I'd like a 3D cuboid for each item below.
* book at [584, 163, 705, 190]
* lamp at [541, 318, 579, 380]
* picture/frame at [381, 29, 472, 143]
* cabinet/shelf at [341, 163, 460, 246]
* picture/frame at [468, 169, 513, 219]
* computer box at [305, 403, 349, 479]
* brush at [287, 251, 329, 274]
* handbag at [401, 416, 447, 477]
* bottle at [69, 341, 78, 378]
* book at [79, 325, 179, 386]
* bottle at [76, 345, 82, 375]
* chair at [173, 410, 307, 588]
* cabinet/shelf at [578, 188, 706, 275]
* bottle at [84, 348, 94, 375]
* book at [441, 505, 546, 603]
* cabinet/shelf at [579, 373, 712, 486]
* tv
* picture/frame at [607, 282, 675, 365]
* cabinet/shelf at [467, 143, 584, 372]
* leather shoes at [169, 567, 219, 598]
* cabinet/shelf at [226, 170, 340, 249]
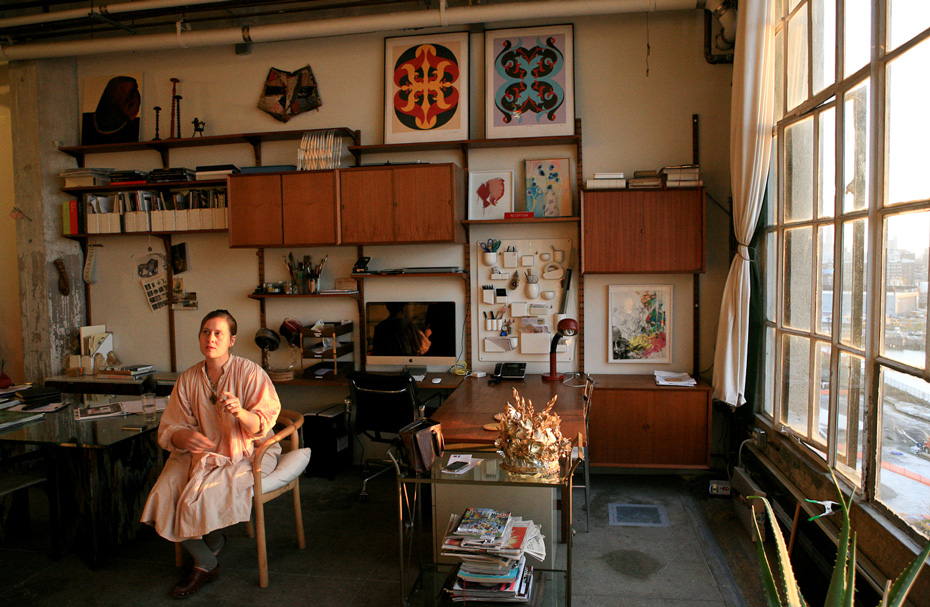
[{"bbox_3d":[1.660,-1.174,7.264,1.049,0.206,0.163,-1,5,8],"label":"book"},{"bbox_3d":[0.898,0.431,7.400,0.312,0.603,0.534,-1,5,6],"label":"lamp"},{"bbox_3d":[-0.383,-2.140,7.681,0.841,1.043,0.127,-1,5,10],"label":"picture/frame"},{"bbox_3d":[-0.674,-0.864,7.871,1.155,0.802,0.880,-3,-12,3],"label":"cabinet/shelf"},{"bbox_3d":[0.276,-1.073,7.665,0.548,0.604,0.043,1,-5,6],"label":"picture/frame"},{"bbox_3d":[-1.387,1.400,7.777,0.498,0.691,0.494,-1,5,42],"label":"computer box"},{"bbox_3d":[-1.626,-0.407,7.957,0.236,0.174,0.328,-1,10,-5],"label":"brush"},{"bbox_3d":[-0.306,1.025,5.640,0.190,0.288,0.334,4,13,34],"label":"handbag"},{"bbox_3d":[-4.166,0.590,8.286,0.109,0.318,0.254,-4,5,-26],"label":"bottle"},{"bbox_3d":[-3.598,0.579,8.279,0.837,0.496,0.775,2,-2,0],"label":"book"},{"bbox_3d":[-4.065,0.650,8.222,0.065,0.192,0.030,2,6,33],"label":"bottle"},{"bbox_3d":[-1.833,1.527,6.427,0.952,1.212,0.912,-1,3,18],"label":"chair"},{"bbox_3d":[1.705,-0.443,7.488,1.320,0.914,0.745,-1,3,6],"label":"cabinet/shelf"},{"bbox_3d":[-3.948,0.646,8.211,0.120,0.203,0.037,0,5,16],"label":"bottle"},{"bbox_3d":[0.151,1.760,5.376,0.608,0.551,0.372,-2,5,-2],"label":"book"},{"bbox_3d":[1.599,1.164,7.375,1.186,0.726,0.606,3,-6,-12],"label":"cabinet/shelf"},{"bbox_3d":[-0.497,0.382,7.728,0.806,0.564,0.232,0,-2,7],"label":"tv"},{"bbox_3d":[1.729,0.178,7.526,0.835,1.004,0.042,1,-1,5],"label":"picture/frame"},{"bbox_3d":[0.551,-0.581,7.675,1.210,2.096,0.620,-2,7,1],"label":"cabinet/shelf"},{"bbox_3d":[-2.075,2.154,5.977,0.140,0.140,0.340,1,-1,30],"label":"leather shoes"},{"bbox_3d":[-1.893,-0.947,7.775,1.192,0.712,0.370,-8,15,-38],"label":"cabinet/shelf"}]
